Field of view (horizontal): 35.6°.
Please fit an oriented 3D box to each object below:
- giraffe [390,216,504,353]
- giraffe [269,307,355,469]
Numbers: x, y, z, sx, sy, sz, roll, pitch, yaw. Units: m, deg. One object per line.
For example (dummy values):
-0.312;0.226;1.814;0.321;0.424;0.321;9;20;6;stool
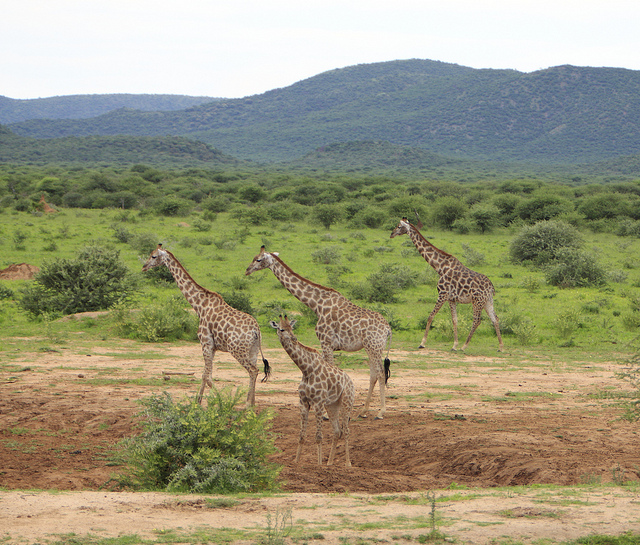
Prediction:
3.343;0.411;24.887;2.403;3.044;1.310;2;5;15;giraffe
-0.032;1.973;17.331;1.265;2.625;2.048;0;5;2;giraffe
